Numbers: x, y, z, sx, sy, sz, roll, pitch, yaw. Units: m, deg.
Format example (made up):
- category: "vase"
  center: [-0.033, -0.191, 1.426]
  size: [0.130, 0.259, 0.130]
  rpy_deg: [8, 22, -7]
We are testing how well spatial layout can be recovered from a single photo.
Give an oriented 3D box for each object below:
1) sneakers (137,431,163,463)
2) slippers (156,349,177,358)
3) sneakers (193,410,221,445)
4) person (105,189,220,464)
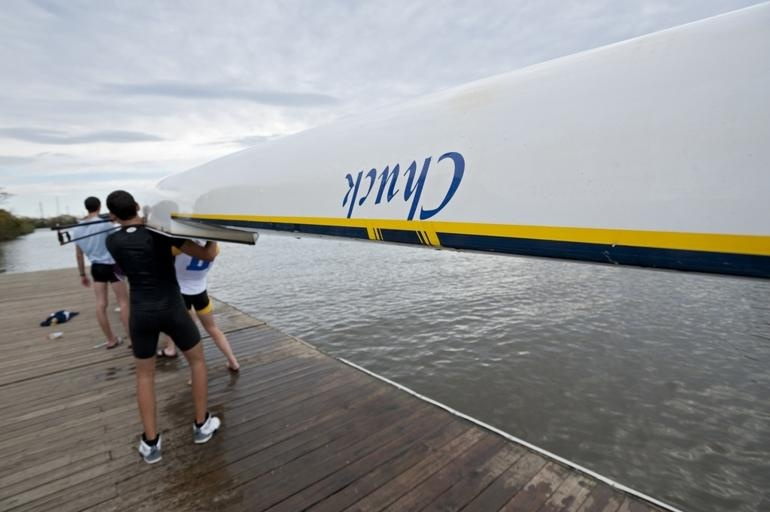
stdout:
- category: "sneakers"
  center: [-2.498, 2.083, 4.068]
  size: [0.156, 0.232, 0.402]
  rpy_deg: [-2, 10, -27]
- category: "slippers"
  center: [-3.399, 1.524, 5.882]
  size: [0.321, 0.107, 0.139]
  rpy_deg: [8, 13, 4]
- category: "sneakers"
  center: [-2.035, 1.971, 4.354]
  size: [0.167, 0.196, 0.447]
  rpy_deg: [0, 10, 4]
- category: "person"
  center: [-2.285, 0.688, 4.282]
  size: [1.261, 2.761, 1.104]
  rpy_deg: [-3, 9, -5]
